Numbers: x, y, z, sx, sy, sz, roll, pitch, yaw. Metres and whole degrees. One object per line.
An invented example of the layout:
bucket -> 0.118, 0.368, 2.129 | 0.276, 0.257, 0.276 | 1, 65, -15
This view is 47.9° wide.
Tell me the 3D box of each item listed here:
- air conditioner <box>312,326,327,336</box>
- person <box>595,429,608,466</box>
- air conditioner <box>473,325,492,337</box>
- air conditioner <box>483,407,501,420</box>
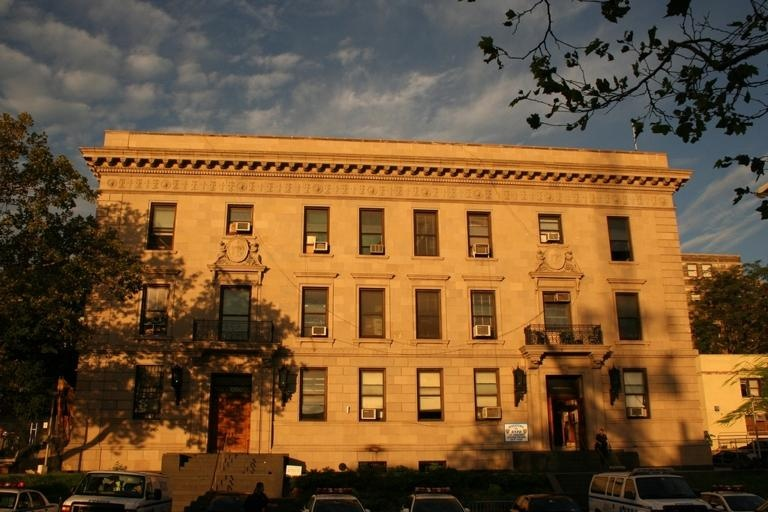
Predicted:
air conditioner -> -3.810, 4.225, 50.453 | 0.971, 0.579, 0.507 | 1, -4, -3
person -> 12.313, 10.919, 49.076 | 0.781, 2.072, 0.665 | -4, -18, 11
air conditioner -> 5.747, 4.475, 51.162 | 1.236, 0.776, 0.643 | 0, -18, 1
air conditioner -> 6.120, 9.149, 50.186 | 1.139, 0.648, 0.700 | 1, -11, -1
